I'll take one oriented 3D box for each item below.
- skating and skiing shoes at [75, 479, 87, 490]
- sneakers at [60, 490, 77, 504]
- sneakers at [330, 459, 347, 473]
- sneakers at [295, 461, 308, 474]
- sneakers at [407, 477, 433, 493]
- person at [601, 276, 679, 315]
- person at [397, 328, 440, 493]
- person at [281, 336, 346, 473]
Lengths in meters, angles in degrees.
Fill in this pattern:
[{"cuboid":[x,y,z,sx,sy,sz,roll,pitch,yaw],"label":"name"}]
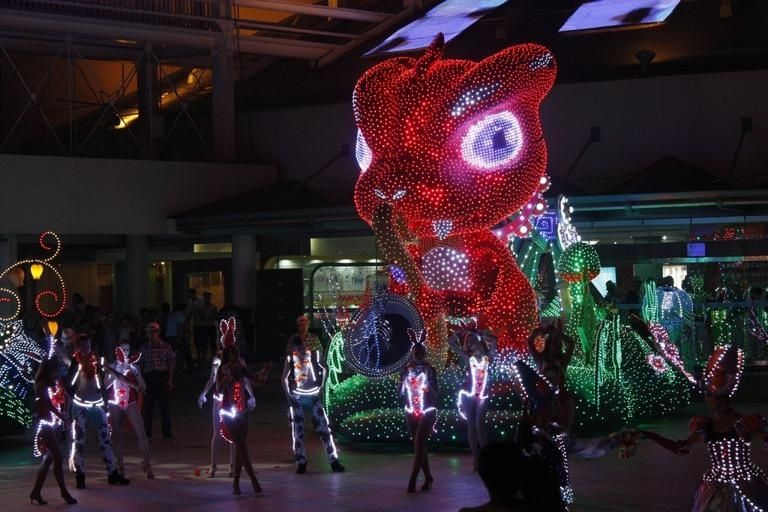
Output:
[{"cuboid":[-4.414,3.309,11.079,0.137,0.135,0.118,2,-4,-16],"label":"skating and skiing shoes"},{"cuboid":[-4.272,3.234,10.277,0.275,0.199,0.110,-1,-3,17],"label":"sneakers"},{"cuboid":[-0.699,3.262,11.888,0.312,0.137,0.114,-5,-6,19],"label":"sneakers"},{"cuboid":[-1.288,3.266,11.833,0.161,0.162,0.163,-1,-3,-5],"label":"sneakers"},{"cuboid":[0.500,3.159,10.529,0.149,0.175,0.448,-9,-17,35],"label":"sneakers"},{"cuboid":[6.186,0.998,17.779,1.602,0.785,1.009,1,-4,21],"label":"person"},{"cuboid":[0.489,2.235,10.772,0.551,1.964,0.854,-2,-2,3],"label":"person"},{"cuboid":[-1.153,2.303,12.052,0.882,2.097,0.886,-1,-2,-5],"label":"person"}]
